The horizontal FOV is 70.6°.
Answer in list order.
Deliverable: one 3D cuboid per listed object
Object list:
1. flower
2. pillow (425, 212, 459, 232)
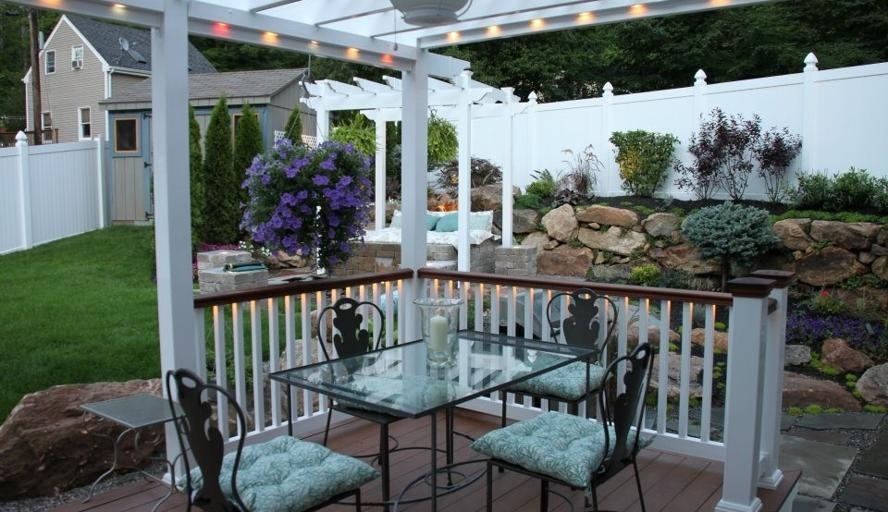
[{"bbox_3d":[-1.464,-0.562,6.660,0.878,1.610,1.209,-1,0,23],"label":"flower"},{"bbox_3d":[-0.041,-0.769,13.977,0.151,0.418,1.292,18,-10,-36],"label":"pillow"}]
